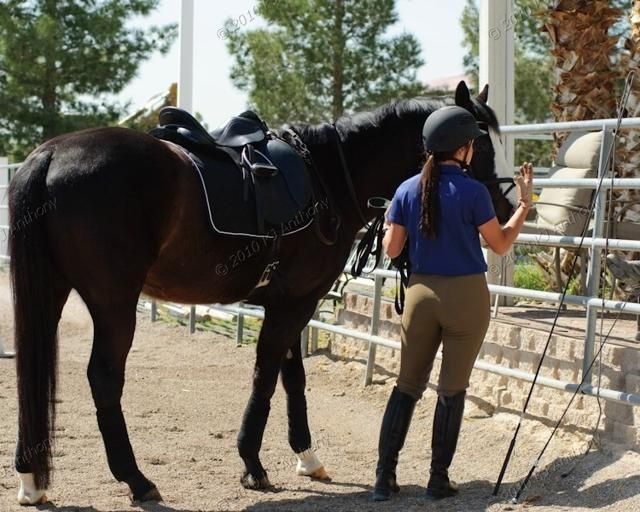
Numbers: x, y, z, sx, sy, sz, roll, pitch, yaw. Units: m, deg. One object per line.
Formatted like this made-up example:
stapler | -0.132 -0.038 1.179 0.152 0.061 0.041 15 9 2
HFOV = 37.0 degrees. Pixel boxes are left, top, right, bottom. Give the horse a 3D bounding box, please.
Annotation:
horse | -0.323 0.398 6.489 3.078 2.619 1.005 2 -6 -28

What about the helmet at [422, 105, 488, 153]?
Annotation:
helmet | 0.823 -0.786 5.900 0.326 0.183 0.230 -28 30 -27
